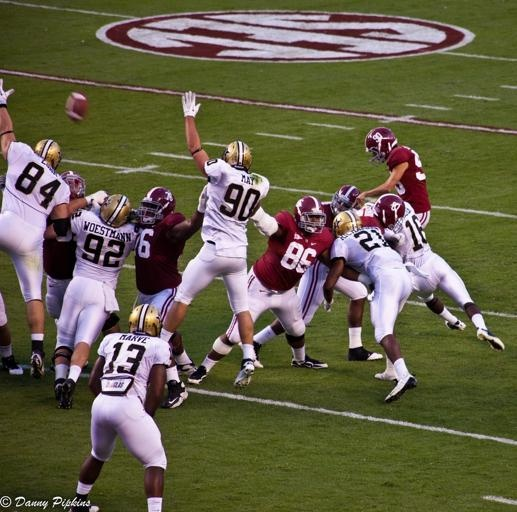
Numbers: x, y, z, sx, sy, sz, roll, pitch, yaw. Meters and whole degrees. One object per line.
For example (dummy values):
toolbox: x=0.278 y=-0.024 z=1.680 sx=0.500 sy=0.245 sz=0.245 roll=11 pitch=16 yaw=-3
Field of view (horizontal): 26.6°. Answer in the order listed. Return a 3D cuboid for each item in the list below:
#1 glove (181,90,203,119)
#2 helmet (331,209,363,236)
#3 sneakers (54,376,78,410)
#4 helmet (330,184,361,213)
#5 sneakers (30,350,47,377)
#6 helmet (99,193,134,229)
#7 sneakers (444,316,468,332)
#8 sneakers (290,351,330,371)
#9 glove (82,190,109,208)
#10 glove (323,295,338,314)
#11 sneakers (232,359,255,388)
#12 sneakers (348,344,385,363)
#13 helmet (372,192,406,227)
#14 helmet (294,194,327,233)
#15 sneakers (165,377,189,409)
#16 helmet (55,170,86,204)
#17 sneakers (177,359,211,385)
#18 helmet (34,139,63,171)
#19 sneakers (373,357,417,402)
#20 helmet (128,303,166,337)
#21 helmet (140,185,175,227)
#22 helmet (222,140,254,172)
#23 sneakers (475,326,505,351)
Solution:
glove: x=-0.542 y=-1.166 z=8.430 sx=0.124 sy=0.186 sz=0.467 roll=10 pitch=9 yaw=-4
helmet: x=0.673 y=-0.251 z=8.424 sx=0.183 sy=0.173 sz=0.224 roll=-7 pitch=4 yaw=-17
sneakers: x=-1.315 y=0.918 z=7.361 sx=0.109 sy=0.252 sz=0.116 roll=6 pitch=39 yaw=-8
helmet: x=0.695 y=-0.446 z=8.817 sx=0.206 sy=0.241 sz=0.204 roll=10 pitch=10 yaw=1
sneakers: x=-1.555 y=0.747 z=7.559 sx=0.089 sy=0.194 sz=0.107 roll=1 pitch=9 yaw=2
helmet: x=-1.006 y=-0.346 z=7.783 sx=0.204 sy=0.208 sz=0.244 roll=21 pitch=32 yaw=-12
sneakers: x=1.654 y=0.567 z=9.063 sx=0.181 sy=0.071 sz=0.092 roll=13 pitch=6 yaw=-12
sneakers: x=0.404 y=0.844 z=8.590 sx=0.330 sy=0.112 sz=0.099 roll=0 pitch=7 yaw=2
glove: x=-1.226 y=-0.423 z=8.131 sx=0.136 sy=0.057 sz=0.175 roll=38 pitch=58 yaw=4
glove: x=0.530 y=0.361 z=8.310 sx=0.085 sy=0.111 sz=0.249 roll=-5 pitch=19 yaw=5
sneakers: x=-0.139 y=0.826 z=7.614 sx=0.097 sy=0.249 sz=0.128 roll=36 pitch=51 yaw=13
sneakers: x=0.836 y=0.792 z=8.722 sx=0.320 sy=0.110 sz=0.103 roll=-1 pitch=5 yaw=-8
helmet: x=1.028 y=-0.350 z=8.600 sx=0.267 sy=0.259 sz=0.220 roll=11 pitch=10 yaw=9
helmet: x=0.392 y=-0.300 z=8.119 sx=0.266 sy=0.278 sz=0.183 roll=8 pitch=10 yaw=-13
sneakers: x=-0.581 y=0.966 z=7.641 sx=0.102 sy=0.157 sz=0.268 roll=2 pitch=9 yaw=21
helmet: x=-1.443 y=-0.536 z=8.541 sx=0.247 sy=0.243 sz=0.278 roll=-8 pitch=10 yaw=-32
sneakers: x=-0.503 y=0.883 z=8.204 sx=0.306 sy=0.121 sz=0.106 roll=15 pitch=44 yaw=35
helmet: x=-1.656 y=-0.777 z=8.450 sx=0.204 sy=0.222 sz=0.546 roll=8 pitch=9 yaw=-12
sneakers: x=1.007 y=0.892 z=7.771 sx=0.162 sy=0.219 sz=0.442 roll=-14 pitch=-22 yaw=-24
helmet: x=-0.678 y=0.373 z=6.470 sx=0.174 sy=0.162 sz=0.206 roll=5 pitch=20 yaw=3
helmet: x=-0.783 y=-0.354 z=7.990 sx=0.240 sy=0.222 sz=0.324 roll=1 pitch=8 yaw=44
helmet: x=-0.126 y=-0.742 z=8.131 sx=0.231 sy=0.243 sz=0.265 roll=2 pitch=18 yaw=-16
sneakers: x=1.785 y=0.657 z=8.199 sx=0.287 sy=0.105 sz=0.120 roll=33 pitch=13 yaw=-18
